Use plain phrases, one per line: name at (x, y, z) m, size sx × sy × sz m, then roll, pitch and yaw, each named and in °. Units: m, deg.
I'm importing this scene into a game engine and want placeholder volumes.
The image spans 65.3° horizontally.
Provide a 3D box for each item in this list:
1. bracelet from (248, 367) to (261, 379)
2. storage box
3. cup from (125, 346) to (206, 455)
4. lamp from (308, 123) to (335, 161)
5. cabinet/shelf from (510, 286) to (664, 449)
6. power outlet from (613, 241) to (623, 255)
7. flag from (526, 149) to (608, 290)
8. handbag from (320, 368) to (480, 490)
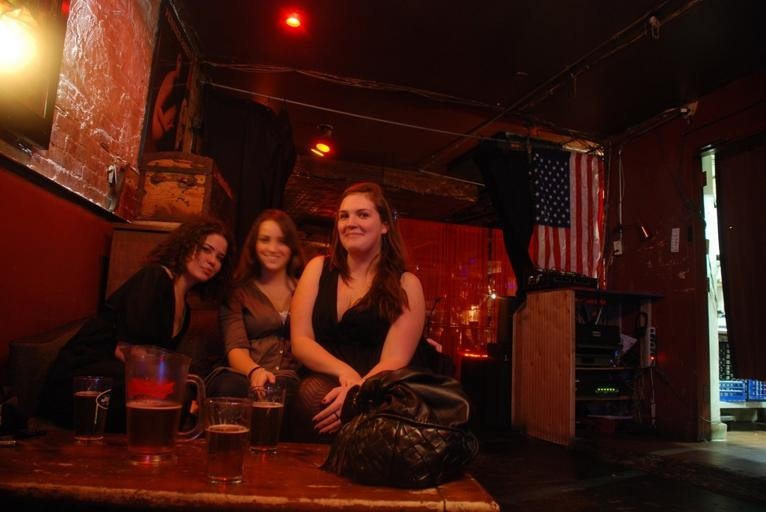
bracelet at (-0.772, 0.692, 3.573) m, size 0.064 × 0.066 × 0.097 m, roll 4°, pitch -4°, yaw -27°
storage box at (-1.474, -0.486, 4.418) m, size 0.474 × 0.419 × 0.757 m, roll 2°, pitch -3°, yaw -6°
cup at (-0.912, 0.631, 2.645) m, size 0.440 × 0.444 × 0.273 m, roll 6°, pitch -13°, yaw -23°
lamp at (-0.738, -1.329, 7.239) m, size 0.227 × 0.246 × 0.229 m, roll -2°, pitch -21°, yaw 15°
cabinet/shelf at (1.971, 1.056, 5.996) m, size 1.274 × 1.359 × 0.964 m, roll 3°, pitch -4°, yaw -30°
power outlet at (2.644, -0.094, 6.696) m, size 0.023 × 0.168 × 0.124 m, roll 13°, pitch -16°, yaw -19°
flag at (2.042, -0.492, 6.646) m, size 0.931 × 1.378 × 0.277 m, roll 4°, pitch -3°, yaw -28°
handbag at (0.088, 0.746, 2.530) m, size 0.451 × 0.324 × 0.586 m, roll 13°, pitch -33°, yaw -24°
